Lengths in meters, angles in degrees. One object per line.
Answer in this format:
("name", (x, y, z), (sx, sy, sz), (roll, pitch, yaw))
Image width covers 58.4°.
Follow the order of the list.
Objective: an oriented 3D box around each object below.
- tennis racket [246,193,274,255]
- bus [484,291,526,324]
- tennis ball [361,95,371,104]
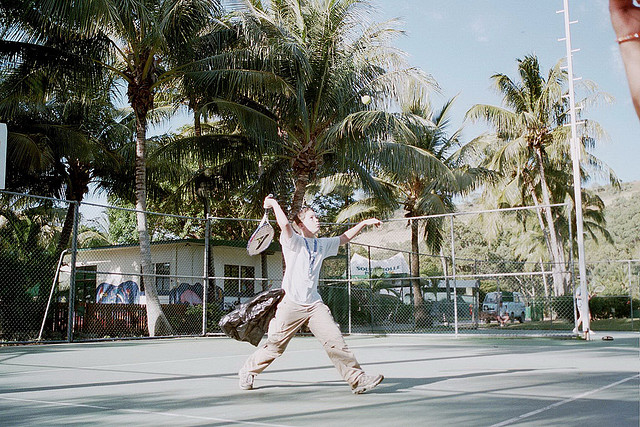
("tennis racket", (-0.820, 0.170, 8.382), (0.428, 0.078, 1.105), (-19, -36, -34))
("bus", (9.397, 4.759, 29.182), (1.418, 1.649, 2.641), (1, -3, 42))
("tennis ball", (1.450, -3.481, 17.939), (0.254, 0.270, 0.265), (-11, 29, 6))
